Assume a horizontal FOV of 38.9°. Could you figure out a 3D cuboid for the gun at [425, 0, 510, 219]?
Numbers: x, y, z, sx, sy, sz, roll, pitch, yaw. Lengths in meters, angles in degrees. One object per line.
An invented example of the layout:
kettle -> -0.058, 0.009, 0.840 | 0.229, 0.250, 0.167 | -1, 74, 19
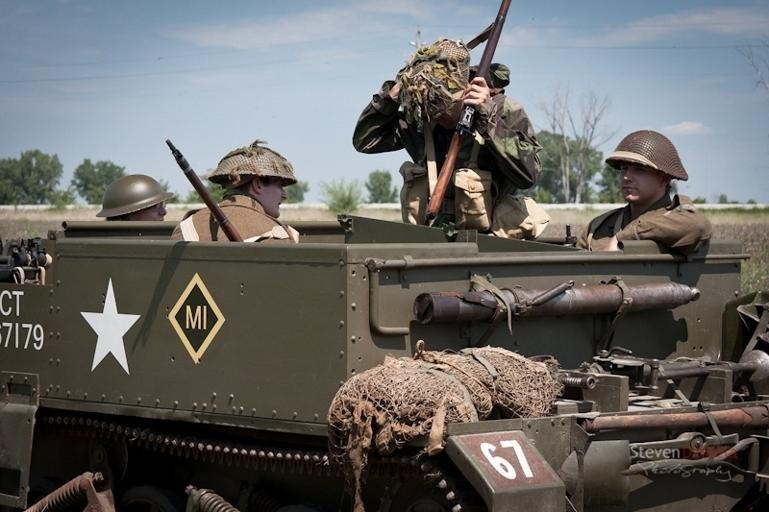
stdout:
gun -> 0.732, -1.079, 9.521 | 0.365, 2.455, 0.360 | 15, -1, -14
